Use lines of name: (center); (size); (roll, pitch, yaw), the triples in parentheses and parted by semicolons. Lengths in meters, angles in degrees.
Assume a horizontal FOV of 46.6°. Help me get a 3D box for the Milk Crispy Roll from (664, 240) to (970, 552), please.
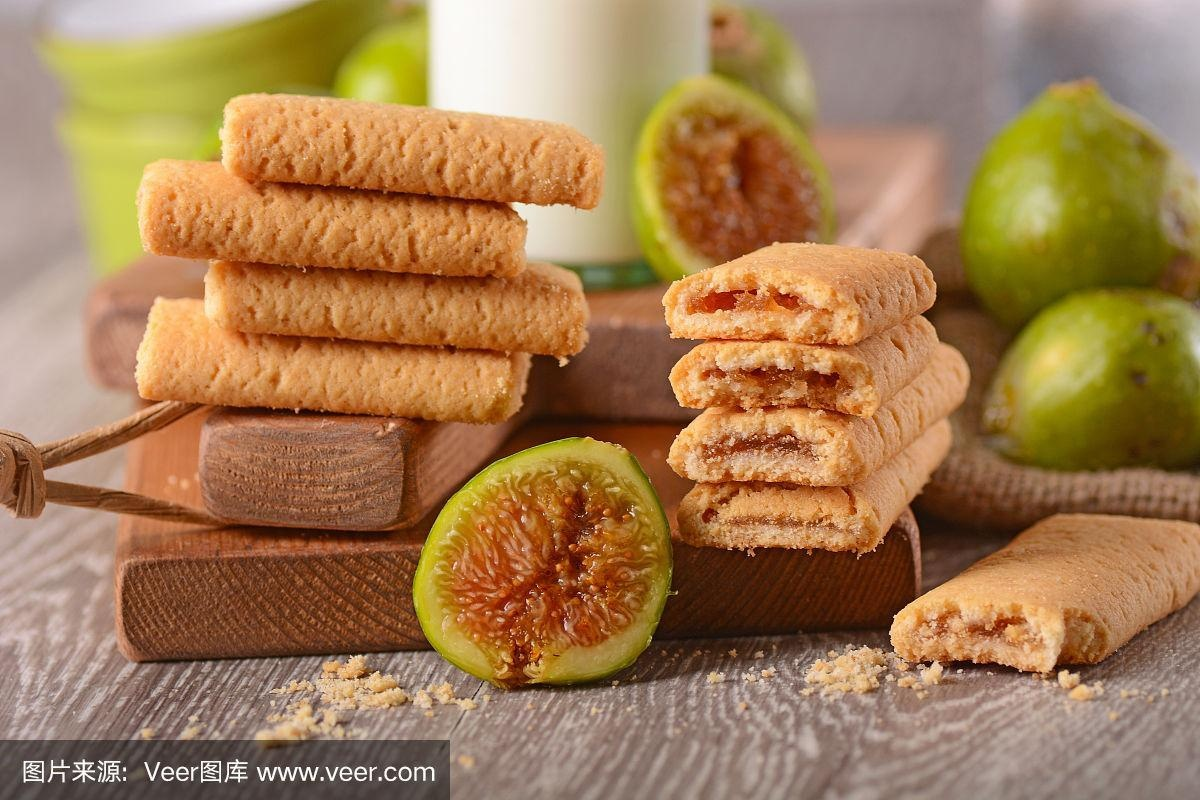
Milk Crispy Roll: (0.191, 0.002, 1.160); (0.176, 0.193, 0.309); (2, 6, 23)

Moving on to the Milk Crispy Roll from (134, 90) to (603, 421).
Milk Crispy Roll: (-0.197, -0.121, 1.184); (0.396, 0.243, 0.162); (0, 40, 1)
